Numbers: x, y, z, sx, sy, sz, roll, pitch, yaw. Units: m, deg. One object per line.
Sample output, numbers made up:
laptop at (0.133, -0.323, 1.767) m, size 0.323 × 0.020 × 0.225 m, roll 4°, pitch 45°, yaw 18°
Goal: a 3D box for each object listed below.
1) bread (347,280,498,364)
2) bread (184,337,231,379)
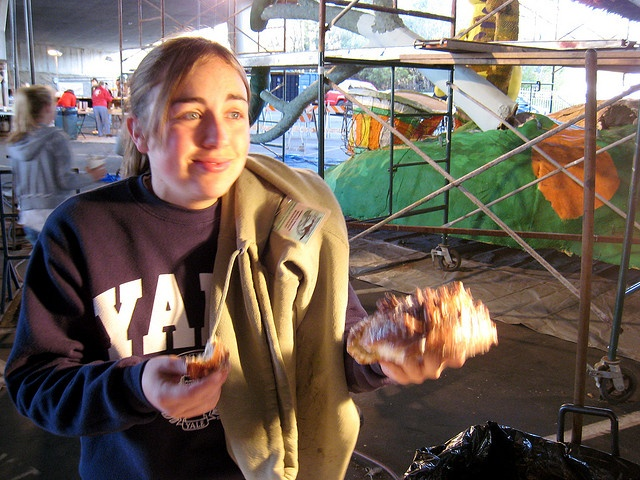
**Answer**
bread at (0.281, 0.278, 1.547) m, size 0.346 × 0.153 × 0.225 m, roll -14°, pitch 11°, yaw 9°
bread at (-0.289, 0.296, 1.396) m, size 0.081 × 0.038 × 0.078 m, roll -3°, pitch 36°, yaw 10°
